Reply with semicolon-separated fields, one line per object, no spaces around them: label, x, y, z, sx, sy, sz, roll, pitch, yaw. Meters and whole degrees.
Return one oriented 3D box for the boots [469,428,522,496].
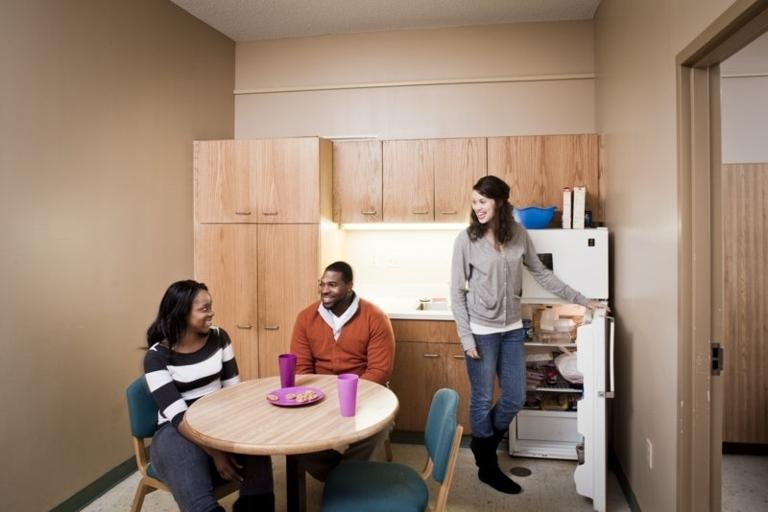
boots;0.862;1.464;3.905;0.460;0.463;0.224;-4;-3;22

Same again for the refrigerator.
refrigerator;1.282;0.738;3.967;0.595;1.845;0.692;0;5;17

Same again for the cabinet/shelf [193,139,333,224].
cabinet/shelf;-0.989;-0.595;4.713;1.127;0.739;0.676;1;5;9

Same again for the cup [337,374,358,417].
cup;-0.198;0.741;3.018;0.102;0.212;0.169;-2;5;-6

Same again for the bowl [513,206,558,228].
bowl;1.150;-0.292;4.250;0.193;0.112;0.230;-2;3;-36
